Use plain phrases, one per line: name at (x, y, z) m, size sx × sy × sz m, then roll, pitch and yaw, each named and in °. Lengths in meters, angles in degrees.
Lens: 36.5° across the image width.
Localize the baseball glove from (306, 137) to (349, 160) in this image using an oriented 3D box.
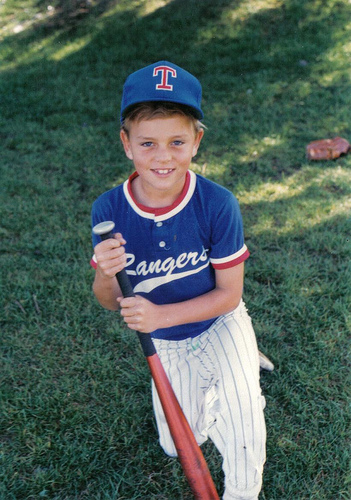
baseball glove at (1.348, -0.908, 4.675) m, size 0.296 × 0.097 × 0.201 m, roll -9°, pitch 20°, yaw -20°

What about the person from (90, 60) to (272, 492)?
person at (0.000, 0.152, 2.550) m, size 0.737 × 1.978 × 0.820 m, roll -12°, pitch 24°, yaw 7°

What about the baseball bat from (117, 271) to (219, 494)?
baseball bat at (-0.018, 0.700, 2.760) m, size 0.144 × 1.179 × 0.165 m, roll -21°, pitch -9°, yaw 11°
